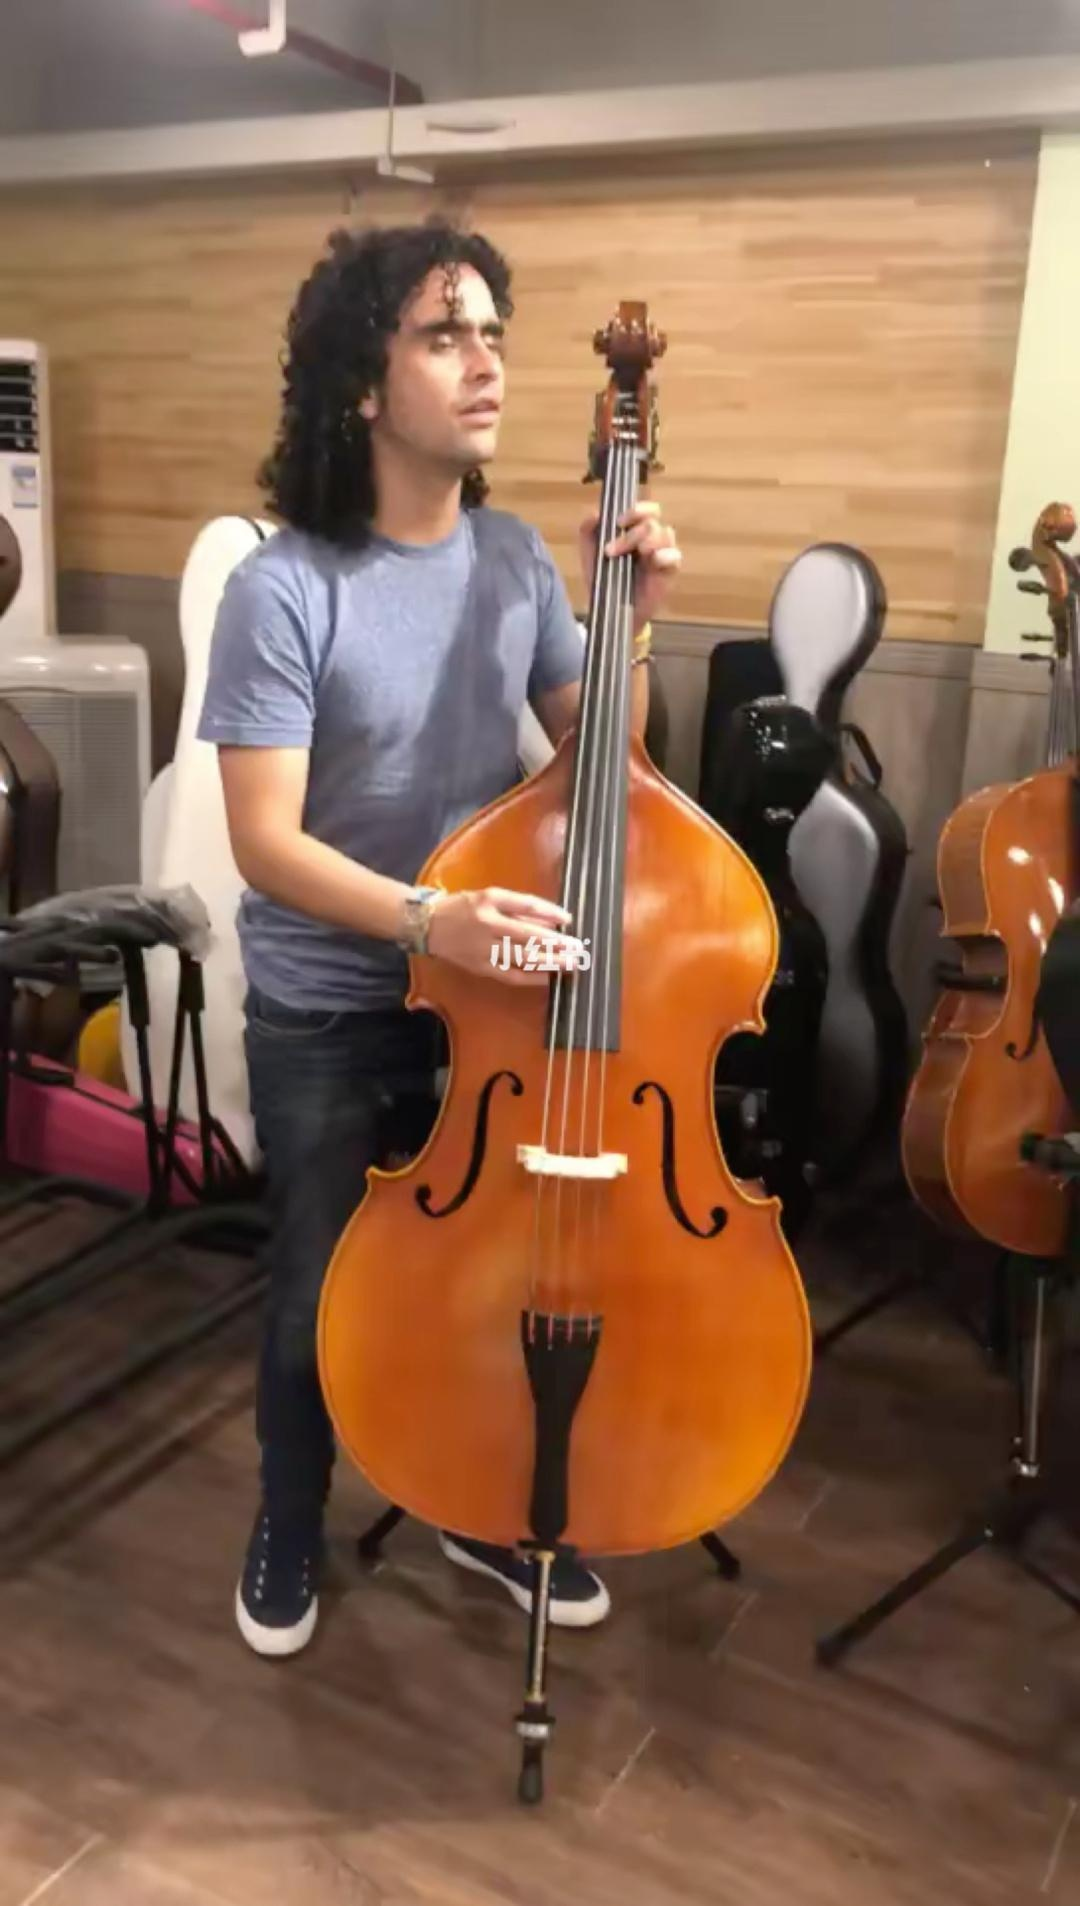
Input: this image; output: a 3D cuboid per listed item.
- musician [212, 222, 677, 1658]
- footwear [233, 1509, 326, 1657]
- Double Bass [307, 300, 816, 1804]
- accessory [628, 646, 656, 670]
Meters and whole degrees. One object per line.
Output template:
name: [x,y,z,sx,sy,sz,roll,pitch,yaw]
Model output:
musician: [-0.088,0.030,1.033,0.287,0.988,0.271,0,16,-10]
footwear: [-0.190,0.475,1.127,0.039,0.040,0.114,14,48,-31]
Double Bass: [0.030,0.094,0.934,0.308,0.927,0.170,9,19,13]
accessory: [0.062,-0.185,0.938,0.009,0.018,0.006,-3,40,-7]
